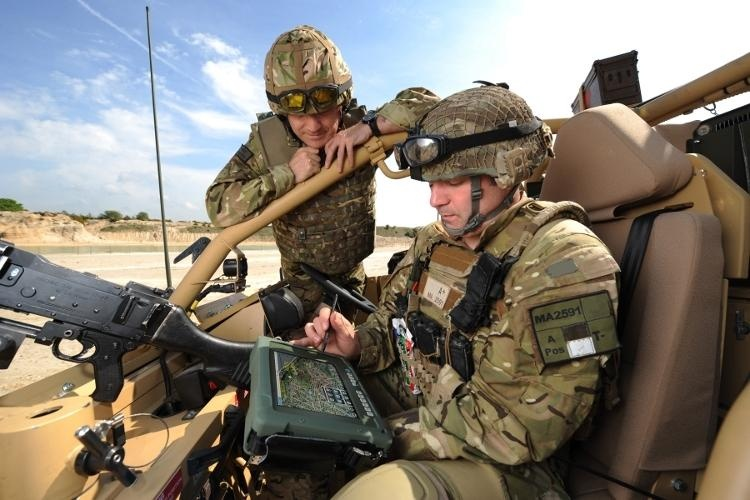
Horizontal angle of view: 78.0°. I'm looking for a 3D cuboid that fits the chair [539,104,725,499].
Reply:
[{"bbox_3d":[1.372,0.256,2.486,0.800,2.149,0.357,2,-8,31],"label":"chair"}]
